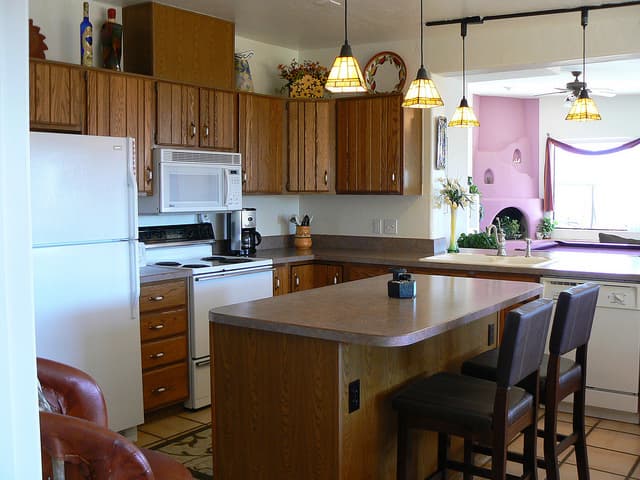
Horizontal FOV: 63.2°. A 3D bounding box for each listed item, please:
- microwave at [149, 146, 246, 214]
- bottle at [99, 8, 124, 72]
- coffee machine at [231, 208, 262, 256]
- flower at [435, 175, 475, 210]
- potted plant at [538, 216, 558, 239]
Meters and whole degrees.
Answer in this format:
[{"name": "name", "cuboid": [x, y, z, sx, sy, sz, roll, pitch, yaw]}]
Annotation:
[{"name": "microwave", "cuboid": [-1.002, -0.486, 4.190, 0.221, 0.516, 0.832, 4, 8, 44]}, {"name": "bottle", "cuboid": [-1.586, -1.507, 3.924, 0.158, 0.498, 0.357, -4, 6, -22]}, {"name": "coffee machine", "cuboid": [-0.688, -0.081, 4.709, 0.170, 0.413, 0.260, 2, 7, 36]}, {"name": "flower", "cuboid": [1.297, -0.447, 5.009, 0.321, 0.237, 0.339, 0, 4, 2]}, {"name": "potted plant", "cuboid": [4.736, -0.257, 10.903, 0.383, 0.511, 0.412, 1, 3, 17]}]
